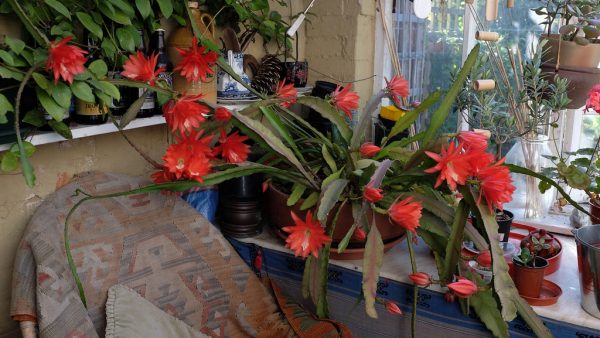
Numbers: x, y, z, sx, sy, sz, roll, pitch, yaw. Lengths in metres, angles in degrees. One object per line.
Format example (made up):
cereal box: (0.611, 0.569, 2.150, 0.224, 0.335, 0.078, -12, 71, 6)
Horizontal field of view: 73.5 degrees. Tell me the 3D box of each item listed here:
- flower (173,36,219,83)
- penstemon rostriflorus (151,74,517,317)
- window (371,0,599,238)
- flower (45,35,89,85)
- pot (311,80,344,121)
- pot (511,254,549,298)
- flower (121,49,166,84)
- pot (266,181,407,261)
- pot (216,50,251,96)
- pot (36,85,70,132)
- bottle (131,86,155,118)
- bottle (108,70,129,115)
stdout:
flower: (-0.380, -0.398, 1.432, 0.181, 0.071, 0.167, 32, 50, 30)
penstemon rostriflorus: (0.100, 0.164, 1.610, 1.225, 0.536, 0.923, 1, 55, 4)
window: (0.997, -0.324, 2.485, 1.081, 1.517, 1.125, 1, 9, 19)
flower: (-0.735, -0.343, 1.258, 0.097, 0.134, 0.075, 6, 22, 17)
pot: (0.111, -0.354, 2.103, 0.190, 0.184, 0.192, 3, 20, -1)
pot: (0.873, 0.410, 1.583, 0.136, 0.138, 0.138, -1, 4, 0)
flower: (-0.546, -0.355, 1.401, 0.111, 0.109, 0.111, 1, 21, 6)
pot: (0.175, 0.281, 1.921, 0.654, 0.301, 0.696, -2, -6, 0)
pot: (-0.292, -0.412, 1.769, 0.138, 0.195, 0.202, 3, 16, 11)
pot: (-0.831, -0.211, 1.353, 0.093, 0.105, 0.095, 6, 41, -5)
bottle: (-0.594, -0.259, 1.514, 0.086, 0.136, 0.085, 3, 48, -3)
bottle: (-0.672, -0.276, 1.497, 0.073, 0.174, 0.136, -12, 23, -27)
